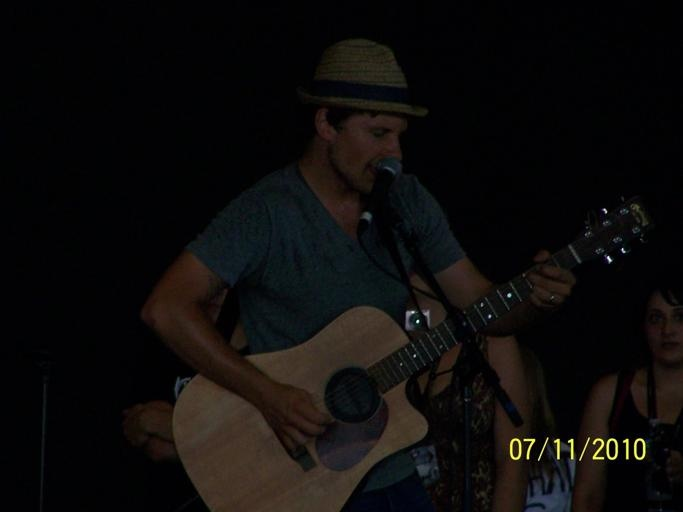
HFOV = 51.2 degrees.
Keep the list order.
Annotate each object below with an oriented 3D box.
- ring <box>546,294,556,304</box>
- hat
[{"bbox_3d":[0.912,0.183,3.075,0.022,0.041,0.040,-17,-6,-38],"label":"ring"},{"bbox_3d":[0.083,-0.834,3.403,0.445,0.280,0.390,4,10,31],"label":"hat"}]
